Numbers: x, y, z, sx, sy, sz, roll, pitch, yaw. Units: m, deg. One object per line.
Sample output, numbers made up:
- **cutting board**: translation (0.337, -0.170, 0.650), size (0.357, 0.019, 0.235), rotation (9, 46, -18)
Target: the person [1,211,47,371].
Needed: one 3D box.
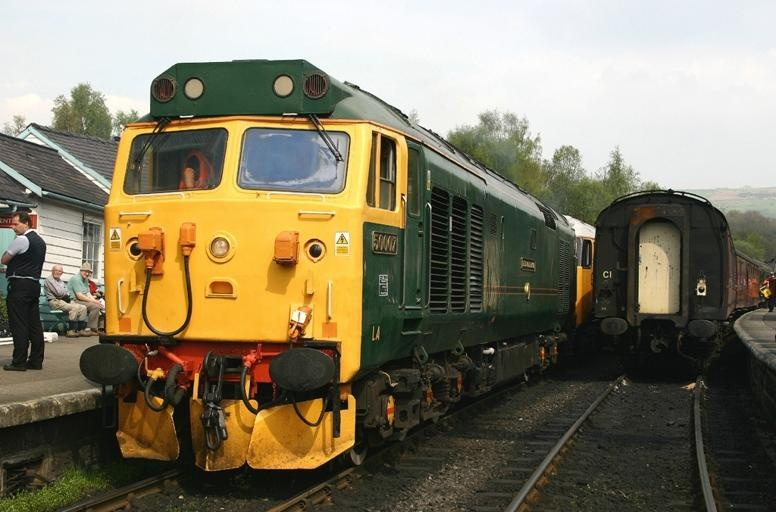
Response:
- **person**: translation (-5.372, 0.513, 9.152), size (0.437, 2.314, 0.635), rotation (0, -3, -6)

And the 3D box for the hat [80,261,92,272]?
- **hat**: translation (-7.863, 0.292, 16.030), size (0.212, 0.156, 0.276), rotation (3, -7, -15)

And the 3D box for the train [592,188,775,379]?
- **train**: translation (8.365, 0.766, 18.060), size (2.655, 4.482, 13.902), rotation (-1, -4, 17)
